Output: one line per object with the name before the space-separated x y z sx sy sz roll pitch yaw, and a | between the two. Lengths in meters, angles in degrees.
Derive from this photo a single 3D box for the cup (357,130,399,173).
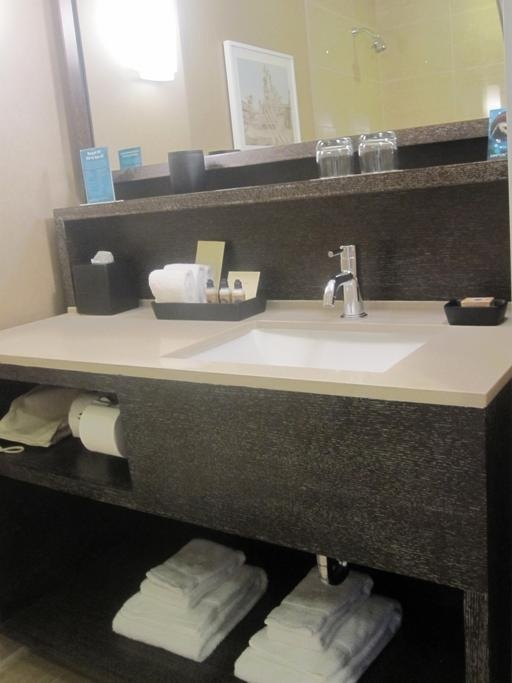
cup | 0.252 -0.391 1.188 0.097 0.090 0.096 -4 11 1

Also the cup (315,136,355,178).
cup | 0.175 -0.413 1.258 0.090 0.085 0.158 -4 15 10

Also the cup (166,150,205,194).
cup | -0.180 -0.447 1.457 0.108 0.114 0.101 -1 22 0

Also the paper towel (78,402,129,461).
paper towel | -0.338 0.197 1.250 0.134 0.100 0.066 9 22 44

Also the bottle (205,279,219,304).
bottle | -0.113 -0.128 1.423 0.033 0.057 0.093 -8 15 -5

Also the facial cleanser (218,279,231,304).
facial cleanser | -0.075 -0.125 1.381 0.034 0.057 0.029 -11 16 -17

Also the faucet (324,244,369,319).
faucet | 0.198 -0.130 1.237 0.081 0.161 0.364 -4 15 10

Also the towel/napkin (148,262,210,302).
towel/napkin | -0.184 -0.152 1.465 0.154 0.096 0.113 2 17 28
